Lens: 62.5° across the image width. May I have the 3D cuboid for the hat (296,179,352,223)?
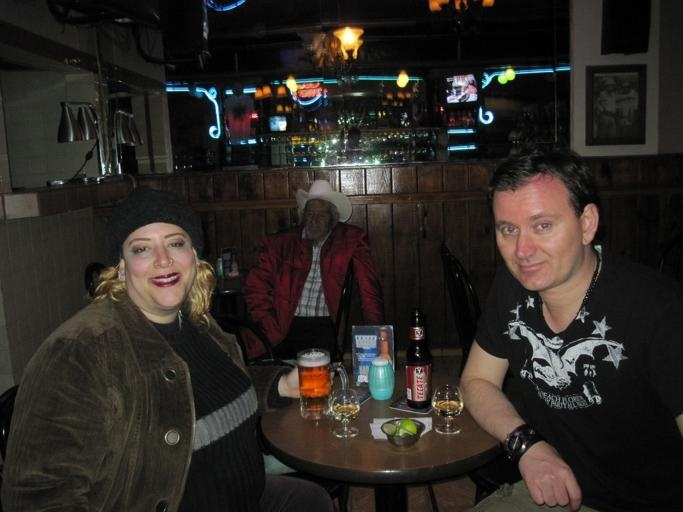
[{"bbox_3d":[-0.162,-0.472,4.513,0.547,0.207,0.485,5,19,-5],"label":"hat"}]

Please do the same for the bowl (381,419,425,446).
[{"bbox_3d":[0.234,0.660,2.163,0.112,0.065,0.114,0,-5,0],"label":"bowl"}]

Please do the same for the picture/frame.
[{"bbox_3d":[2.451,-1.368,5.013,0.666,0.930,0.061,0,6,8],"label":"picture/frame"}]

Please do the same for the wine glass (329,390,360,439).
[{"bbox_3d":[0.013,0.631,2.273,0.142,0.218,0.147,0,-4,-1],"label":"wine glass"}]
